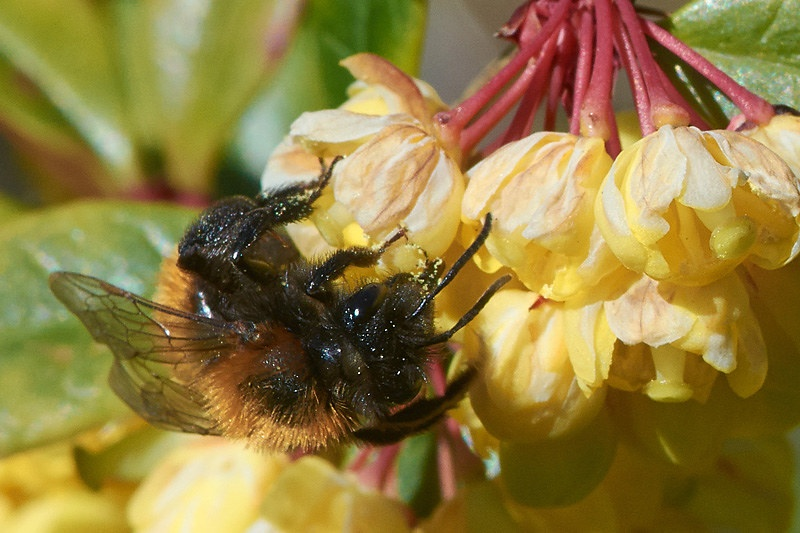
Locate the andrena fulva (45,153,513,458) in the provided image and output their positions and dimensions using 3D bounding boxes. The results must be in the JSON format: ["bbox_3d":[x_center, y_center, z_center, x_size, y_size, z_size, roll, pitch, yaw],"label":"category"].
[{"bbox_3d":[-0.119,0.025,0.739,0.295,0.233,0.095,0,55,41],"label":"andrena fulva"}]
